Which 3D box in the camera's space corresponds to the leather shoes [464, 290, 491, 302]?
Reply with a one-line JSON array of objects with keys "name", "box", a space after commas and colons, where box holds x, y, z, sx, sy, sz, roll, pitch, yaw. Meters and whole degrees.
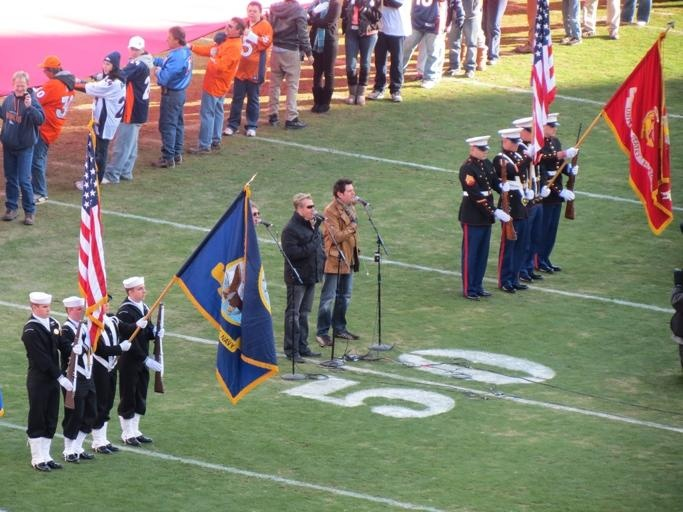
[{"name": "leather shoes", "box": [2.070, 0.572, 24.393, 0.436, 0.124, 0.165, -3, 9, -24]}]

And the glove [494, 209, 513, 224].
[{"name": "glove", "box": [2.421, -0.611, 24.380, 0.257, 0.229, 0.452, 1, 8, 6]}]

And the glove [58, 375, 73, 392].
[{"name": "glove", "box": [-3.312, 1.515, 19.632, 0.067, 0.206, 0.152, -45, 25, 2]}]

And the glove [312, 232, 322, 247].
[{"name": "glove", "box": [-0.317, -0.245, 22.408, 0.076, 0.184, 0.203, 4, 9, 25]}]

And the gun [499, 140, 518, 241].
[{"name": "gun", "box": [2.499, -0.916, 24.309, 0.199, 1.162, 0.251, 6, 25, 6]}]

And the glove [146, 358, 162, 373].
[{"name": "glove", "box": [-2.323, 1.347, 20.262, 0.196, 0.192, 0.219, -1, 8, -5]}]

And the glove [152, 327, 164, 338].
[{"name": "glove", "box": [-2.260, 0.945, 20.401, 0.132, 0.107, 0.101, -4, -2, 37]}]

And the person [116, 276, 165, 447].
[{"name": "person", "box": [-2.703, 1.446, 20.143, 0.684, 1.704, 0.495, -10, -11, -34]}]

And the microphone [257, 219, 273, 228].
[{"name": "microphone", "box": [-0.986, -0.423, 21.071, 0.123, 0.103, 0.394, -1, 3, -31]}]

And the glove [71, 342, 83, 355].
[{"name": "glove", "box": [-3.179, 1.114, 19.713, 0.116, 0.114, 0.131, 2, -11, -5]}]

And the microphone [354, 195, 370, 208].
[{"name": "microphone", "box": [0.279, -0.753, 22.204, 0.106, 0.164, 0.297, 16, 5, -37]}]

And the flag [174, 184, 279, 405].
[{"name": "flag", "box": [-1.306, 0.455, 20.508, 1.080, 2.658, 0.778, 8, 12, 40]}]

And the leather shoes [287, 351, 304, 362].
[{"name": "leather shoes", "box": [-0.620, 1.376, 22.350, 0.311, 0.106, 0.105, 1, 2, 36]}]

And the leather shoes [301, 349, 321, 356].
[{"name": "leather shoes", "box": [-0.423, 1.329, 22.571, 0.310, 0.093, 0.093, 0, -1, -2]}]

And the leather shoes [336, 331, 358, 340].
[{"name": "leather shoes", "box": [0.087, 1.111, 22.971, 0.343, 0.106, 0.113, -1, -1, 8]}]
